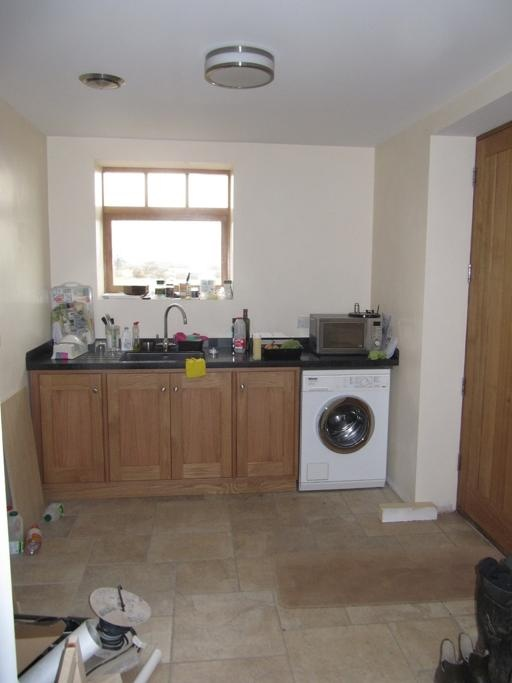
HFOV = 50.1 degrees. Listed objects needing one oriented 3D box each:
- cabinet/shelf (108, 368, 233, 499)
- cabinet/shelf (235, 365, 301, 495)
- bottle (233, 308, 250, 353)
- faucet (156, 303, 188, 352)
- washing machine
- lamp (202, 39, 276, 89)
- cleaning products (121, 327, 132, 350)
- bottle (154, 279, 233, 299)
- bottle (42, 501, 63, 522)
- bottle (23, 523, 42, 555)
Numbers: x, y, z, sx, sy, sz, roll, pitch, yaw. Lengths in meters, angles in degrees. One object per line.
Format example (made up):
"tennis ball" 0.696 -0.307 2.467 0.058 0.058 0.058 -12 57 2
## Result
"cabinet/shelf" -0.597 0.571 3.631 0.834 0.789 0.349 -1 5 -8
"cabinet/shelf" 0.129 0.568 3.921 0.583 0.881 0.585 -2 12 -6
"bottle" -0.115 -0.083 4.134 0.136 0.301 0.365 0 8 -2
"faucet" -0.593 -0.107 3.983 0.191 0.339 0.527 -1 8 -9
"washing machine" 0.612 0.565 3.977 0.699 0.858 0.661 1 9 16
"lamp" -0.073 -1.191 2.386 0.310 0.088 0.293 7 10 40
"cleaning products" -0.962 -0.020 4.072 0.087 0.156 0.276 -2 8 -14
"bottle" -0.499 -0.406 4.317 0.607 0.137 0.220 -1 8 -10
"bottle" -1.230 1.050 3.383 0.090 0.085 0.152 0 7 -2
"bottle" -1.215 1.099 3.027 0.075 0.127 0.125 1 2 -18
